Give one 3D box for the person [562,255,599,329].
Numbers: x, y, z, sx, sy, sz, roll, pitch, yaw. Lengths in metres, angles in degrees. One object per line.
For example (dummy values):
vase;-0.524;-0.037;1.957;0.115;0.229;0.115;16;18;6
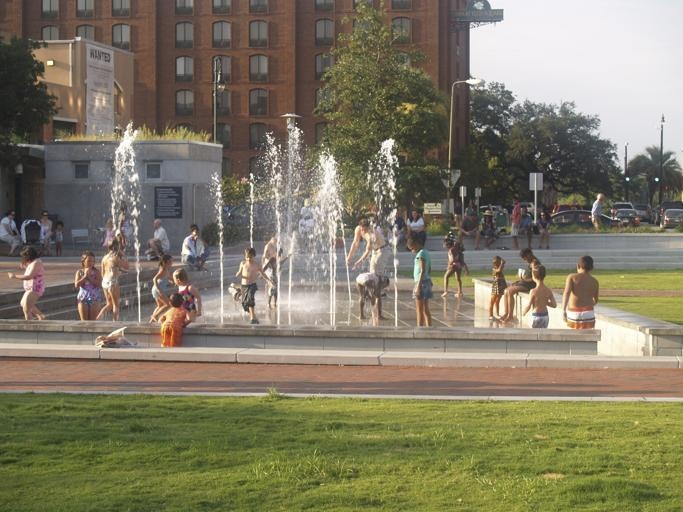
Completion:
person;6.730;0.989;37.713;0.945;2.023;0.670;0;0;11
